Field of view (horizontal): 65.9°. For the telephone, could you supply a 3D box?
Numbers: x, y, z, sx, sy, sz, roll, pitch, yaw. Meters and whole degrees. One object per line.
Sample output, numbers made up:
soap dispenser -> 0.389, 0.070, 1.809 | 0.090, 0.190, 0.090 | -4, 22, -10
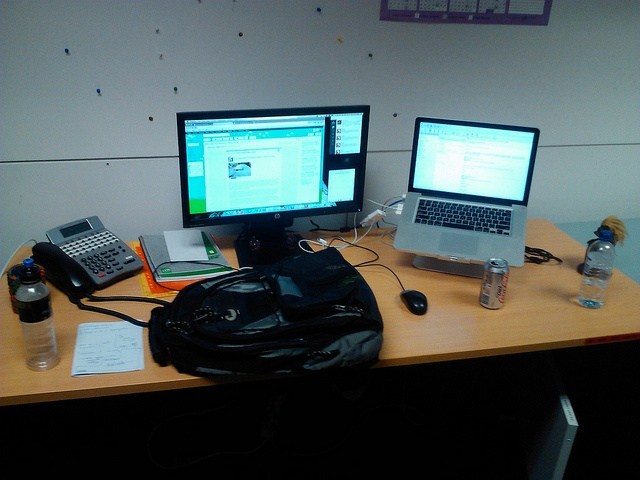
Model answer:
telephone -> -0.854, -0.012, 1.773 | 0.327, 0.124, 0.302 | 39, 44, 21

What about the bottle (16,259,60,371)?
bottle -> -0.865, 0.212, 1.488 | 0.092, 0.316, 0.192 | -10, 22, -30

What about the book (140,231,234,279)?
book -> -0.513, 0.023, 1.880 | 0.310, 0.323, 0.043 | -8, 46, -18

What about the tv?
tv -> -0.204, -0.228, 1.962 | 0.648, 0.485, 0.260 | -5, 30, -16

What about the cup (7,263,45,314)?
cup -> -0.886, 0.148, 1.483 | 0.120, 0.127, 0.119 | 6, 28, -3

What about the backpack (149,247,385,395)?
backpack -> -0.148, 0.257, 1.582 | 0.528, 0.197, 0.383 | -7, 34, -6
